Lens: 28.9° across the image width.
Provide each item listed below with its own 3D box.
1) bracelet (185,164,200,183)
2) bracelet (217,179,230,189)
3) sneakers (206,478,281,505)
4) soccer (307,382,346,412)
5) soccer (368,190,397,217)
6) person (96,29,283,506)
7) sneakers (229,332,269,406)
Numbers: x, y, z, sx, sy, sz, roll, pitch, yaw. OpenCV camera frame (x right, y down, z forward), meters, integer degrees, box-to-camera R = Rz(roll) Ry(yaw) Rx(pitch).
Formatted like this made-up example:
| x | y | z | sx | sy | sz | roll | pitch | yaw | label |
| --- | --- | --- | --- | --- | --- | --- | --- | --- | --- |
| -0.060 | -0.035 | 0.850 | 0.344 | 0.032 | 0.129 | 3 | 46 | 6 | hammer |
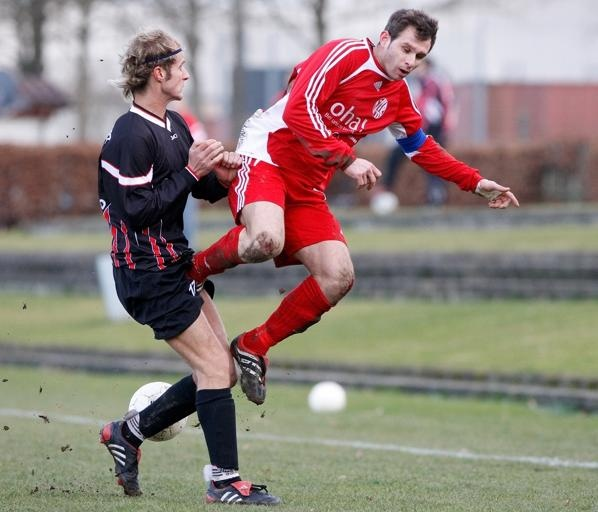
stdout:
| x | y | z | sx | sy | sz | roll | pitch | yaw | label |
| --- | --- | --- | --- | --- | --- | --- | --- | --- | --- |
| -0.704 | -0.558 | 7.687 | 0.025 | 0.090 | 0.089 | -41 | 34 | -1 | bracelet |
| -0.520 | -0.514 | 8.070 | 0.073 | 0.029 | 0.054 | 23 | -18 | 41 | bracelet |
| -0.368 | 1.504 | 7.523 | 0.411 | 0.129 | 0.180 | 1 | -3 | 4 | sneakers |
| 0.267 | 1.252 | 10.411 | 0.278 | 0.246 | 0.268 | 3 | 22 | -33 | soccer |
| 1.368 | -0.880 | 18.910 | 0.426 | 0.282 | 0.450 | 0 | 8 | 3 | soccer |
| -0.833 | 0.039 | 7.692 | 1.032 | 3.062 | 0.836 | 1 | 8 | 6 | person |
| -0.331 | 0.764 | 8.023 | 0.244 | 0.485 | 0.182 | -24 | -10 | 8 | sneakers |
